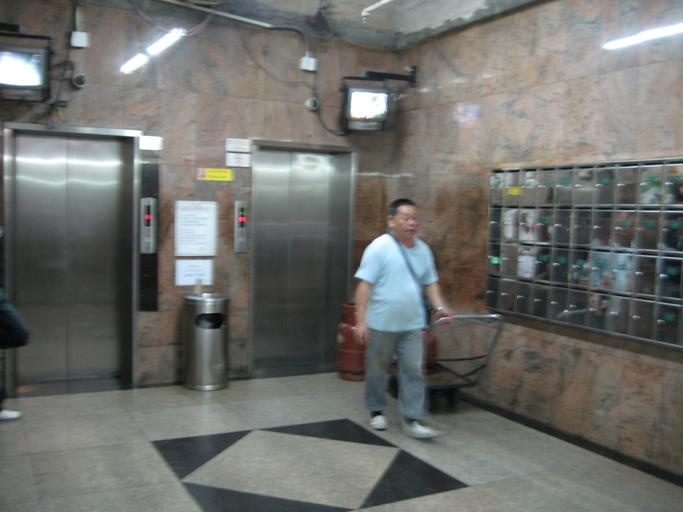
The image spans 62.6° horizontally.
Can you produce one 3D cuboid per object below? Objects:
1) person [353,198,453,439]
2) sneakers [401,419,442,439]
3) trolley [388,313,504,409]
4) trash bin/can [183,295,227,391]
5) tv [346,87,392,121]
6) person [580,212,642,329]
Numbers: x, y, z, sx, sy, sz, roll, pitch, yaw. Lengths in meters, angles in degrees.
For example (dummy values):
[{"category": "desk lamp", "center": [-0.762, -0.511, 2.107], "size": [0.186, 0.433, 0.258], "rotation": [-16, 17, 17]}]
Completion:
[{"category": "person", "center": [0.512, 0.534, 4.759], "size": [0.774, 2.009, 0.393], "rotation": [2, 7, 1]}, {"category": "sneakers", "center": [0.684, 1.478, 4.816], "size": [0.283, 0.093, 0.150], "rotation": [6, 6, 25]}, {"category": "trolley", "center": [1.355, 1.239, 5.997], "size": [0.610, 0.713, 1.184], "rotation": [-23, -26, 36]}, {"category": "trash bin/can", "center": [-1.427, 0.912, 5.967], "size": [0.440, 0.973, 0.256], "rotation": [1, 7, -7]}, {"category": "tv", "center": [0.308, -1.759, 6.506], "size": [0.459, 0.364, 0.036], "rotation": [1, 7, -11]}, {"category": "person", "center": [2.293, 0.124, 4.493], "size": [0.401, 0.982, 0.566], "rotation": [-4, 5, -17]}]
